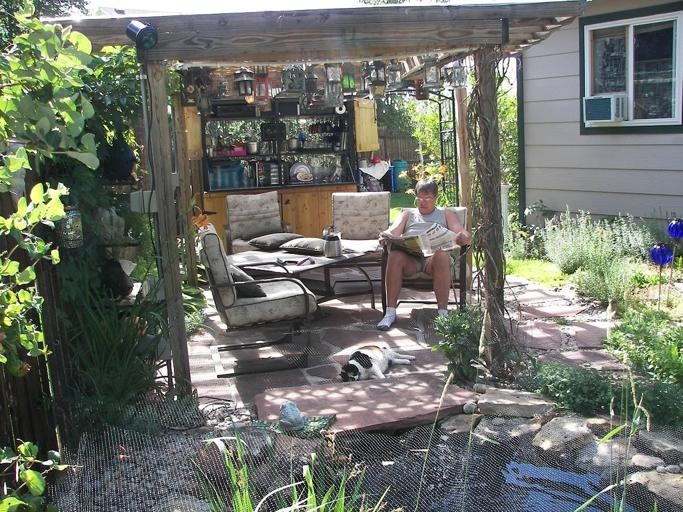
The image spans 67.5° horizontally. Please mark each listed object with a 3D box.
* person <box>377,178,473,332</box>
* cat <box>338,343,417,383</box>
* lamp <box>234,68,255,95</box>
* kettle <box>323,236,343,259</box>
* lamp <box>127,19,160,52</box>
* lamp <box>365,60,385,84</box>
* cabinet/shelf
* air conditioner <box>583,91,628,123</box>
[{"bbox_3d":[0.898,-0.063,5.727,1.094,1.652,0.981,2,-2,-20],"label":"person"},{"bbox_3d":[0.270,0.855,4.139,0.323,0.239,0.776,1,10,33],"label":"cat"},{"bbox_3d":[-1.598,-2.824,8.400,0.413,0.414,0.414,18,26,40],"label":"lamp"},{"bbox_3d":[-0.094,-0.098,5.731,0.217,0.219,0.212,0,5,23],"label":"kettle"},{"bbox_3d":[-1.379,-1.530,3.549,0.185,0.233,0.207,-10,10,-36],"label":"lamp"},{"bbox_3d":[0.431,-2.249,6.356,0.235,0.310,0.362,-4,8,4],"label":"lamp"},{"bbox_3d":[-1.137,-1.499,9.333,2.843,2.879,1.053,0,-5,-12],"label":"cabinet/shelf"},{"bbox_3d":[3.982,-2.168,7.656,0.390,0.510,0.673,-4,6,-32],"label":"air conditioner"}]
